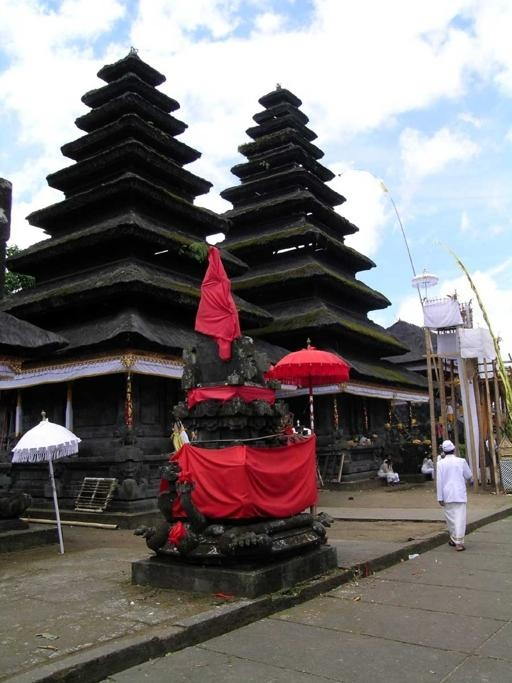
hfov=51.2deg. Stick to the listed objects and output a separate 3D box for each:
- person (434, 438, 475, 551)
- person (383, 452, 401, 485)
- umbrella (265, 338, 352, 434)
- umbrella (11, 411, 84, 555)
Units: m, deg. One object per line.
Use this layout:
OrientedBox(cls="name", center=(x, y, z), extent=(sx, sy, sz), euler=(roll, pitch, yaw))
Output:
OrientedBox(cls="person", center=(3.020, 2.301, 8.091), extent=(0.504, 1.499, 1.220), euler=(-7, -10, 18))
OrientedBox(cls="person", center=(4.988, 4.724, 19.605), extent=(0.695, 1.114, 0.719), euler=(14, -24, -42))
OrientedBox(cls="umbrella", center=(1.005, 0.696, 9.736), extent=(1.457, 1.492, 1.469), euler=(-8, -12, 35))
OrientedBox(cls="umbrella", center=(-3.631, 2.392, 9.337), extent=(1.011, 2.250, 4.073), euler=(0, -9, -20))
